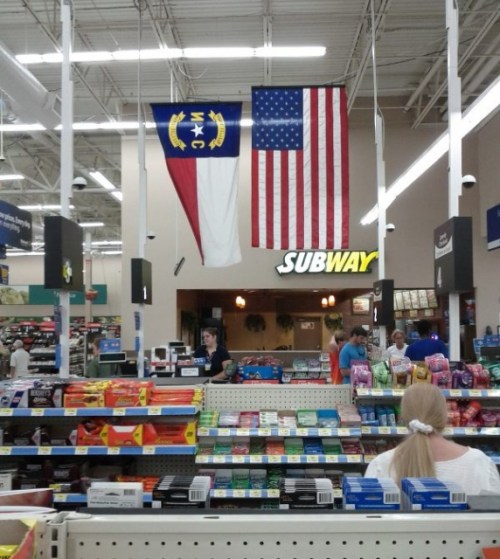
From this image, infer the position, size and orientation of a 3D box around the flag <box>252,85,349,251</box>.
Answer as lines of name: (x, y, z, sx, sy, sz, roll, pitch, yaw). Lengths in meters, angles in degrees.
flag: (0.509, -1.134, 6.752, 1.009, 1.673, 0.416, -2, -5, -5)

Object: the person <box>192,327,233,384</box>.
person: (-0.362, 0.751, 6.478, 0.377, 0.533, 0.819, -2, -4, -5)
